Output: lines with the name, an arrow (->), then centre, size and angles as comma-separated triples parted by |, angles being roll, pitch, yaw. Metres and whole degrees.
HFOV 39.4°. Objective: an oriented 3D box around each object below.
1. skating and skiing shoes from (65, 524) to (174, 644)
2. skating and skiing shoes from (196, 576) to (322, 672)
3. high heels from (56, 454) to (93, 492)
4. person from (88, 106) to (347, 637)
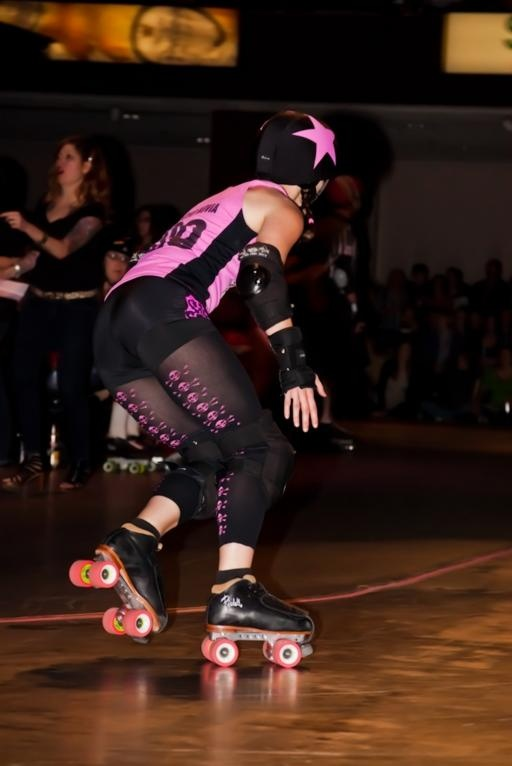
skating and skiing shoes -> -0.263, 0.379, 1.369 | 0.175, 0.237, 0.104 | 2, -3, -13
skating and skiing shoes -> 0.001, 0.453, 1.350 | 0.272, 0.160, 0.129 | 1, -3, -5
high heels -> -0.973, 0.486, 3.808 | 0.110, 0.103, 0.290 | 0, -4, 4
person -> -0.098, -0.043, 1.482 | 0.493, 1.163, 0.318 | 2, -3, 5
